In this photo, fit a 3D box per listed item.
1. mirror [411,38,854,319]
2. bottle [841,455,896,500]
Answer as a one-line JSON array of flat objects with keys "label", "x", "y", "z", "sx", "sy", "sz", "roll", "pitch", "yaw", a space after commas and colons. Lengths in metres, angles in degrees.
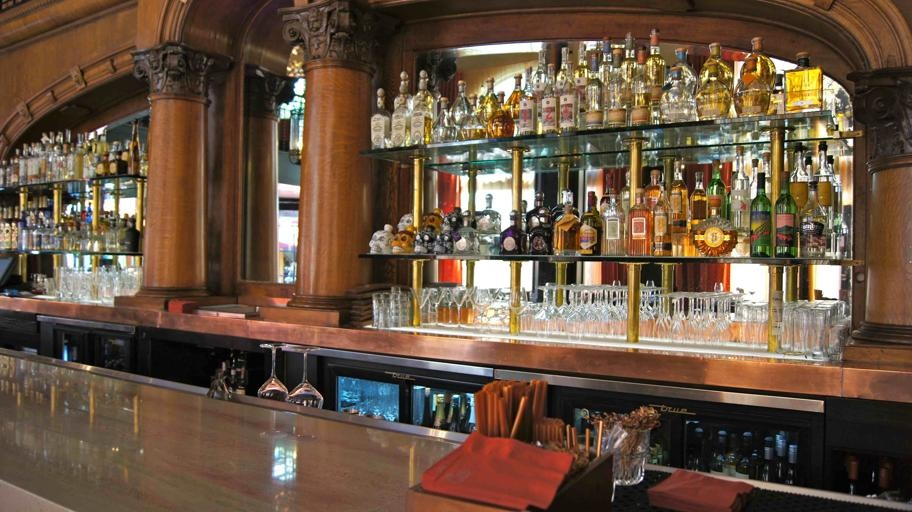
[{"label": "mirror", "x": 1.477, "y": -0.731, "z": 6.491, "sx": 2.922, "sy": 2.028, "sz": 0.860, "roll": 0, "pitch": -2, "yaw": 22}, {"label": "bottle", "x": 2.851, "y": 1.514, "z": 5.700, "sx": 0.358, "sy": 0.285, "sz": 0.081, "roll": 1, "pitch": -2, "yaw": -1}]
